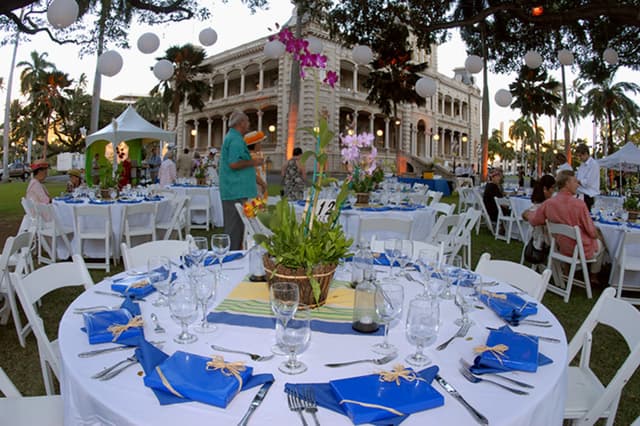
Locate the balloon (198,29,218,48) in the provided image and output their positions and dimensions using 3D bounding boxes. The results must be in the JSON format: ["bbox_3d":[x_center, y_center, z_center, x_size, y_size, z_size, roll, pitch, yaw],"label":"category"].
[{"bbox_3d":[-2.752,-4.338,11.484,0.446,0.522,0.477,0,3,-4],"label":"balloon"}]

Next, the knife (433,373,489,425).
[{"bbox_3d":[0.940,1.254,3.108,0.057,0.064,0.513,-29,29,-9],"label":"knife"}]

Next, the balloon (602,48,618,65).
[{"bbox_3d":[7.024,-3.796,11.267,0.269,0.340,0.753,2,4,36],"label":"balloon"}]

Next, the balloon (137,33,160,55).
[{"bbox_3d":[-3.872,-3.854,10.574,0.474,0.440,0.340,-1,3,-22],"label":"balloon"}]

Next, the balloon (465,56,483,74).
[{"bbox_3d":[4.110,-4.008,12.468,0.425,0.536,0.692,1,3,15],"label":"balloon"}]

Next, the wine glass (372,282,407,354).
[{"bbox_3d":[0.518,0.768,3.533,0.216,0.481,0.374,1,3,7],"label":"wine glass"}]

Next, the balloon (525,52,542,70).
[{"bbox_3d":[5.418,-3.921,11.801,0.311,0.422,0.519,2,4,33],"label":"balloon"}]

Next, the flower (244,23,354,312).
[{"bbox_3d":[-0.105,-0.403,3.875,0.858,2.323,1.150,0,3,-8],"label":"flower"}]

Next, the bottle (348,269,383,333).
[{"bbox_3d":[0.371,0.686,3.705,0.285,0.591,0.305,1,6,0],"label":"bottle"}]

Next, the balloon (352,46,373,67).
[{"bbox_3d":[1.125,-4.143,12.076,0.427,0.579,1.066,1,3,12],"label":"balloon"}]

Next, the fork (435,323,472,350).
[{"bbox_3d":[1.011,0.939,3.526,0.061,0.062,0.377,21,36,37],"label":"fork"}]

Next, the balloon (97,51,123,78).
[{"bbox_3d":[-4.547,-3.219,10.121,0.513,0.622,0.380,2,3,30],"label":"balloon"}]

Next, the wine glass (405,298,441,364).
[{"bbox_3d":[0.749,0.851,3.376,0.264,0.453,0.212,0,3,-1],"label":"wine glass"}]

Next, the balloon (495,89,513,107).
[{"bbox_3d":[5.677,-3.567,14.332,0.695,0.593,0.385,-1,3,-20],"label":"balloon"}]

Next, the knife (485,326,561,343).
[{"bbox_3d":[1.557,0.919,3.579,0.529,0.100,0.137,0,3,1],"label":"knife"}]

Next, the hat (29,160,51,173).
[{"bbox_3d":[-4.914,-0.842,8.201,0.274,0.119,0.269,-15,6,-42],"label":"hat"}]

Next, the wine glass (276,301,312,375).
[{"bbox_3d":[-0.182,0.884,3.289,0.223,0.451,0.146,0,3,-2],"label":"wine glass"}]

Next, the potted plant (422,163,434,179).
[{"bbox_3d":[5.370,-2.108,23.095,0.517,0.885,2.244,1,3,13],"label":"potted plant"}]

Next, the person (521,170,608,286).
[{"bbox_3d":[3.863,0.251,7.309,1.153,2.106,1.044,-20,24,-16],"label":"person"}]

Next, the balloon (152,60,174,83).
[{"bbox_3d":[-4.090,-3.739,12.156,0.459,0.587,0.825,-1,3,-21],"label":"balloon"}]

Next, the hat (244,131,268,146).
[{"bbox_3d":[-1.076,-1.283,7.881,0.332,0.127,0.356,-8,17,28],"label":"hat"}]
